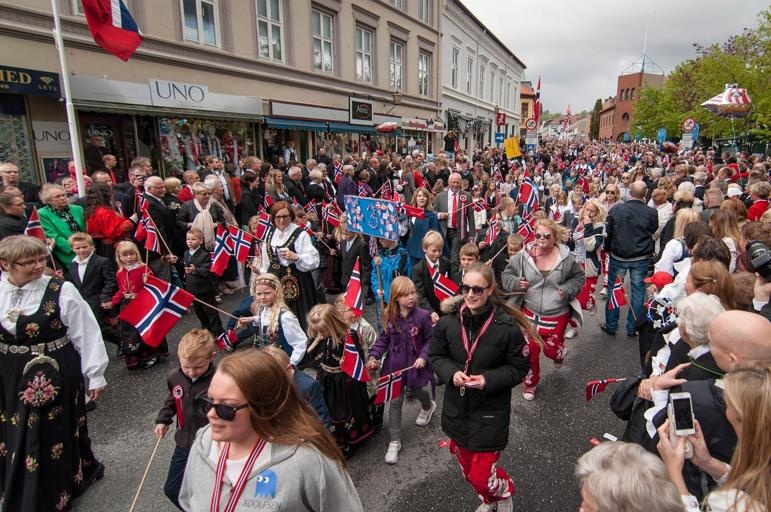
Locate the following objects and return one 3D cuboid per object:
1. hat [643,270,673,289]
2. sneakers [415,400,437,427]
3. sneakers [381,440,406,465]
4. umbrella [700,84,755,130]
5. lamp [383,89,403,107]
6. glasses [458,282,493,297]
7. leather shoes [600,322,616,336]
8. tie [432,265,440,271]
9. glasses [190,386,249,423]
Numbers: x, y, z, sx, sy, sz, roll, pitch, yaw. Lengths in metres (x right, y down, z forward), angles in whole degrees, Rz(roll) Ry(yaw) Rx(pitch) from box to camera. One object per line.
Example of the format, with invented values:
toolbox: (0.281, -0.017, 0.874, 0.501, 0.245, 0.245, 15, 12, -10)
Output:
hat: (3.542, 0.351, 7.180, 0.228, 0.187, 0.324, -26, 18, -23)
sneakers: (0.545, 2.154, 7.327, 0.148, 0.397, 0.164, 22, -2, 29)
sneakers: (0.086, 2.417, 6.781, 0.205, 0.222, 0.272, -1, 14, 2)
umbrella: (10.353, -4.613, 16.232, 1.321, 1.033, 1.151, -7, 15, -23)
lamp: (0.318, -6.957, 23.908, 0.625, 0.566, 0.878, 0, 0, 2)
glasses: (0.960, 0.356, 5.879, 0.291, 0.121, 0.118, 4, 15, 18)
leather shoes: (3.880, 1.260, 9.530, 0.107, 0.156, 0.226, -23, 37, -1)
tie: (0.744, 0.176, 8.030, 0.079, 0.021, 0.079, -30, 40, -15)
glasses: (-1.391, 1.277, 4.583, 0.447, 0.163, 0.166, 5, 15, 23)
